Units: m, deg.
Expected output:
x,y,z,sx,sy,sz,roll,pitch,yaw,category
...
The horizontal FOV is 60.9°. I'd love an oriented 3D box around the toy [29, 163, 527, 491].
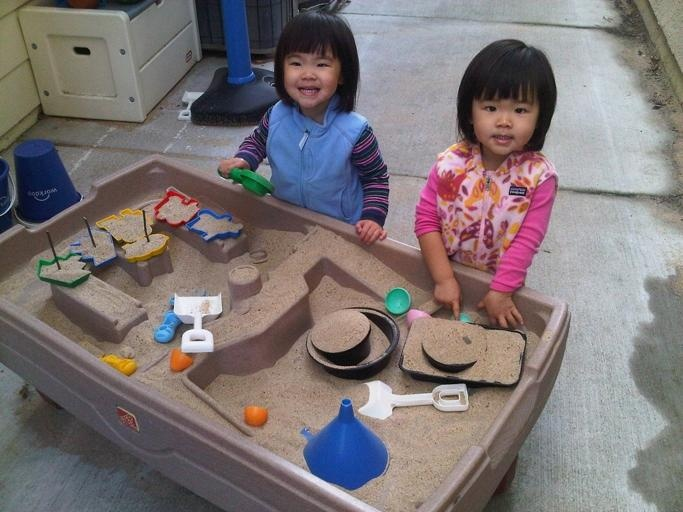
x,y,z,sx,sy,sz,roll,pitch,yaw,category
-0.420,0.045,1.980,1.399,0.250,0.742,21,47,18,toy
